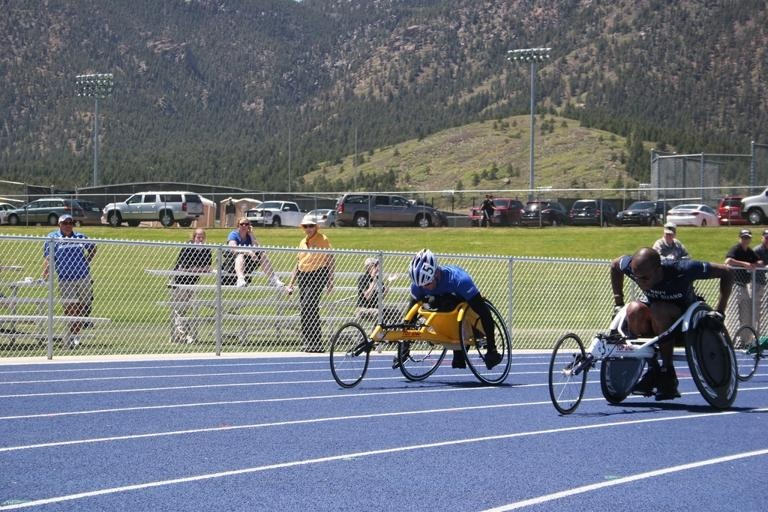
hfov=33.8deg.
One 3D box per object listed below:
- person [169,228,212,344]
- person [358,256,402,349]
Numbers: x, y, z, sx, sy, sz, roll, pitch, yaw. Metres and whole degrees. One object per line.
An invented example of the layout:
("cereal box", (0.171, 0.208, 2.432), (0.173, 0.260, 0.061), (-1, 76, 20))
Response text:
("person", (-5.769, 0.865, 36.758), (1.116, 3.591, 1.049), (-1, -1, -9))
("person", (-0.219, 1.201, 36.184), (1.034, 2.662, 1.083), (3, -1, -8))
